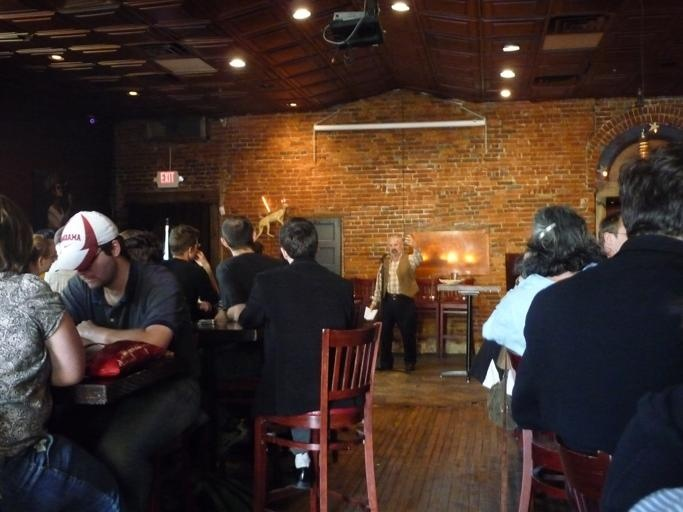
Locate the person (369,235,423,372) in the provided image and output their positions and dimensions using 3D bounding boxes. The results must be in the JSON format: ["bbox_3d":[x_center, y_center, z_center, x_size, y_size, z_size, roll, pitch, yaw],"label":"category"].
[{"bbox_3d":[0.688,0.556,7.985,0.634,1.655,1.175,1,2,7],"label":"person"}]

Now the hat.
[{"bbox_3d":[-1.178,-0.076,2.932,0.206,0.187,0.336,8,38,26],"label":"hat"}]

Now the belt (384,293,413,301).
[{"bbox_3d":[0.723,0.520,7.901,0.157,0.064,0.151,10,-10,-11],"label":"belt"}]

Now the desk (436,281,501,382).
[{"bbox_3d":[1.494,0.854,7.457,1.006,1.516,1.038,-1,-1,8],"label":"desk"}]
